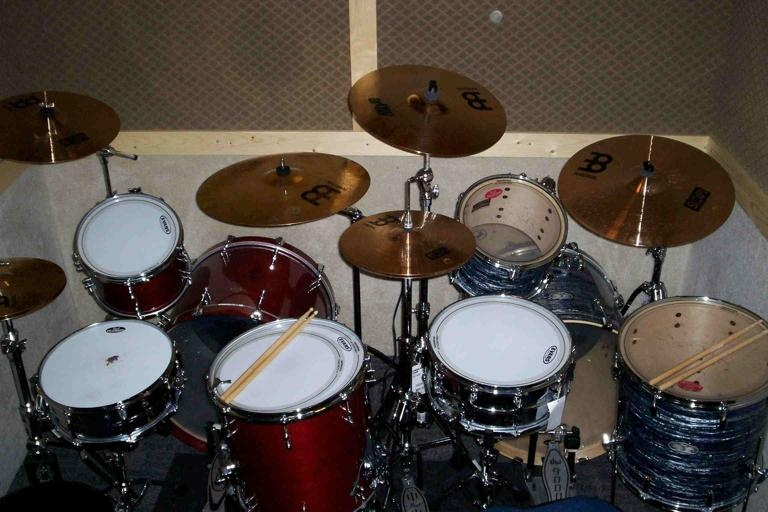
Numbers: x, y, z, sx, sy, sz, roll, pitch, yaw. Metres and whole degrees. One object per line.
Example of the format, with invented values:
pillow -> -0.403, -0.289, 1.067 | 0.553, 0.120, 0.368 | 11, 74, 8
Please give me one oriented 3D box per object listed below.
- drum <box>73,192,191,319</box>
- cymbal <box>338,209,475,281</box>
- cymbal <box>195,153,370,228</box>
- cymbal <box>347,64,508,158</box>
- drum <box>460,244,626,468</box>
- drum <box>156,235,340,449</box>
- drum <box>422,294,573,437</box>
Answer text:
drum -> -1.348, 0.035, 3.856 | 0.611, 0.604, 0.370 | -28, -9, -18
cymbal -> 0.128, -0.059, 3.339 | 0.446, 0.100, 0.432 | 5, 42, 4
cymbal -> -0.494, -0.322, 3.395 | 0.529, 0.118, 0.510 | -15, 45, -18
cymbal -> 0.238, -0.741, 3.354 | 0.651, 0.667, 0.109 | 3, 66, 13
drum -> 0.764, 0.500, 3.405 | 0.933, 0.977, 0.728 | 1, 41, -9
drum -> -0.705, 0.267, 3.894 | 1.002, 1.046, 0.768 | 17, 29, -1
drum -> 0.505, 0.474, 3.219 | 0.611, 0.242, 0.614 | 1, 44, -1
